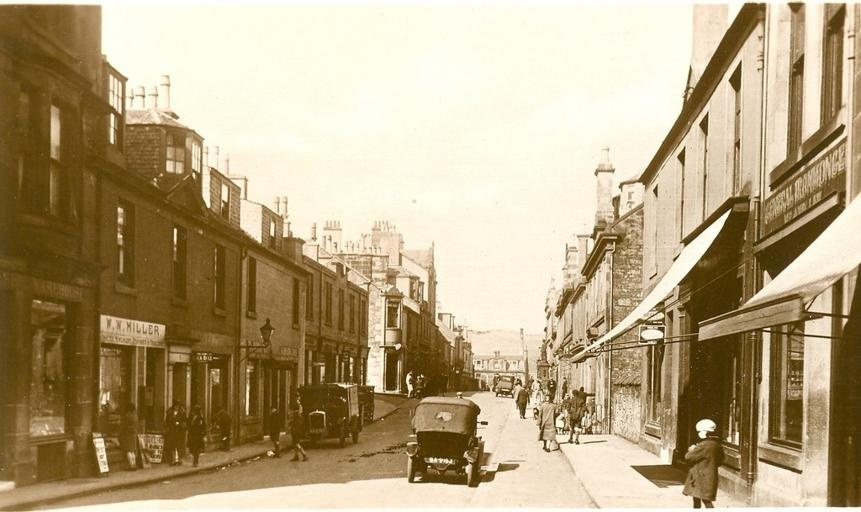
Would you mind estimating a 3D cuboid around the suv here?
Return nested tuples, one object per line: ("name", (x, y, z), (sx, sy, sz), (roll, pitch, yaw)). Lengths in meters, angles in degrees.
("suv", (-3.876, 6.172, 42.359), (1.589, 1.668, 2.877), (0, -1, 4))

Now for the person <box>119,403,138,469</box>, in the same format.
("person", (-9.781, 5.914, 34.562), (0.609, 2.091, 0.340), (8, -19, -32))

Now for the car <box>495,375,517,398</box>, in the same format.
("car", (6.146, 10.934, 87.986), (1.247, 1.066, 1.961), (0, -18, 4))

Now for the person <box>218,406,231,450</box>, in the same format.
("person", (-7.801, 6.619, 40.230), (0.469, 1.472, 1.309), (1, -17, -11))
